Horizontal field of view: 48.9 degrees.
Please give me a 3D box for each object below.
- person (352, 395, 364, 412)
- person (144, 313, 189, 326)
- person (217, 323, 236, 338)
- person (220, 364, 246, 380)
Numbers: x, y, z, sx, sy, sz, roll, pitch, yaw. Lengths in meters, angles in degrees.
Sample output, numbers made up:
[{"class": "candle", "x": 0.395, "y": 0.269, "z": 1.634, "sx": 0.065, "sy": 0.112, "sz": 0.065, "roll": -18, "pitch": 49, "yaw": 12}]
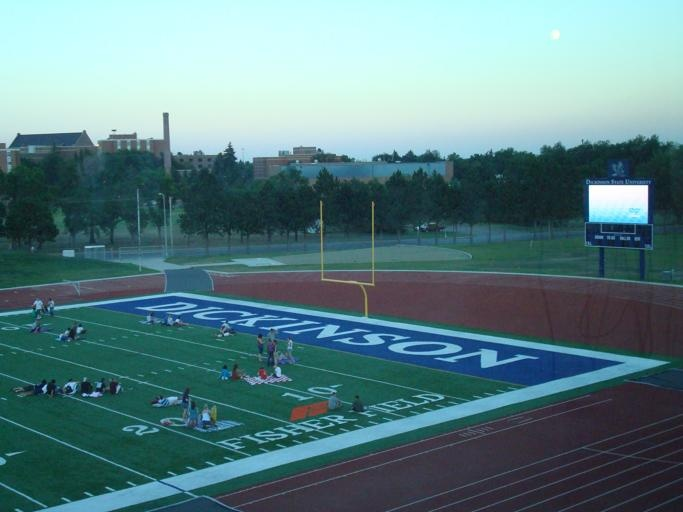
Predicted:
[{"class": "person", "x": 0.686, "y": 6.604, "z": 33.563, "sx": 0.673, "sy": 0.852, "sz": 0.593, "roll": -2, "pitch": 5, "yaw": -1}, {"class": "person", "x": -11.436, "y": 4.179, "z": 48.036, "sx": 1.841, "sy": 0.440, "sz": 1.292, "roll": 0, "pitch": 1, "yaw": 30}, {"class": "person", "x": -7.027, "y": 4.381, "z": 44.944, "sx": 1.028, "sy": 0.763, "sz": 0.800, "roll": -1, "pitch": 5, "yaw": 1}, {"class": "person", "x": -5.593, "y": 5.774, "z": 37.615, "sx": 0.756, "sy": 0.455, "sz": 0.971, "roll": 0, "pitch": 3, "yaw": -6}]
